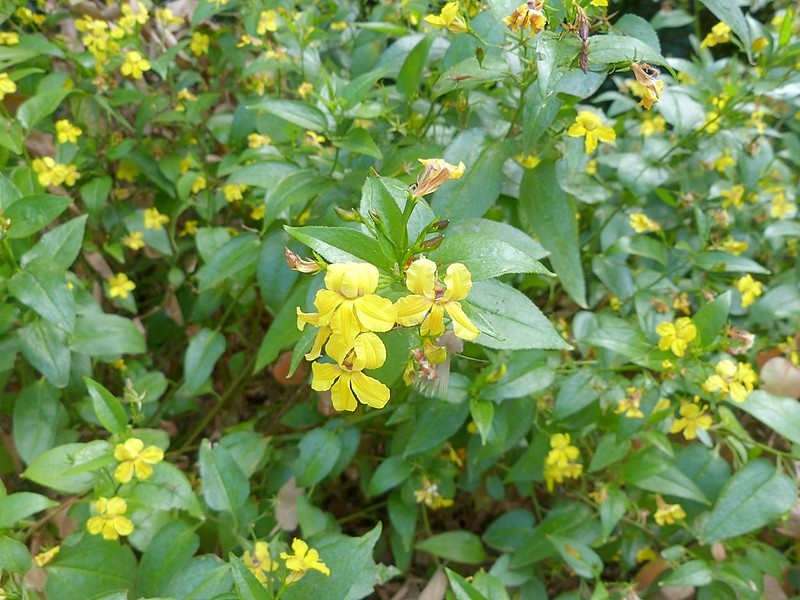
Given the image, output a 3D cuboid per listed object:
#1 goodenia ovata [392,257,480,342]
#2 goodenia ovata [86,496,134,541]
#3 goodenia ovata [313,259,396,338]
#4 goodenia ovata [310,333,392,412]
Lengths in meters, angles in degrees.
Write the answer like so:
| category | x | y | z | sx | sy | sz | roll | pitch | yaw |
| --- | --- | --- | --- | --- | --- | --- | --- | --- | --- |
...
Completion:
| category | x | y | z | sx | sy | sz | roll | pitch | yaw |
| --- | --- | --- | --- | --- | --- | --- | --- | --- | --- |
| goodenia ovata | 0.093 | -0.014 | 1.631 | 0.178 | 0.060 | 0.155 | -30 | 35 | -21 |
| goodenia ovata | -0.763 | 0.568 | 1.926 | 0.118 | 0.168 | 0.108 | 3 | 52 | -15 |
| goodenia ovata | -0.132 | -0.007 | 1.621 | 0.166 | 0.079 | 0.249 | 10 | 11 | -32 |
| goodenia ovata | -0.118 | 0.147 | 1.669 | 0.142 | 0.057 | 0.197 | -5 | 50 | 29 |
